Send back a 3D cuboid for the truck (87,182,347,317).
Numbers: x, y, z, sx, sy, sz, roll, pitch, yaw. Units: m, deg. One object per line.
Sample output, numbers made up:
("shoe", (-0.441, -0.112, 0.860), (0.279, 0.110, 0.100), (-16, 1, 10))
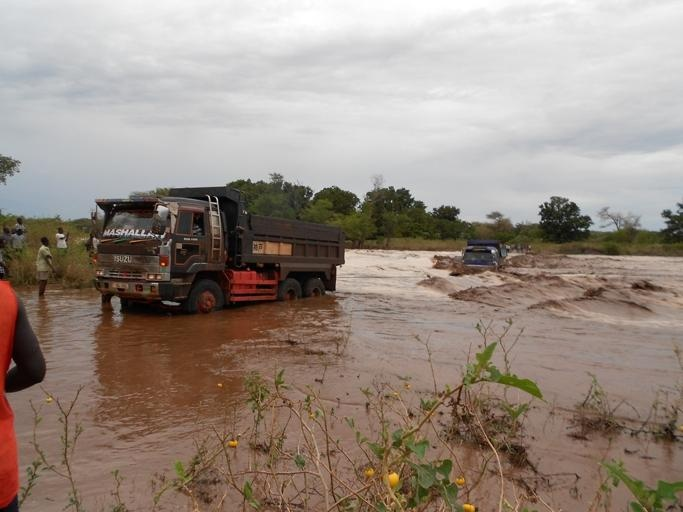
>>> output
("truck", (-3.665, -0.090, 16.048), (3.841, 3.786, 9.400), (-1, -3, 37))
